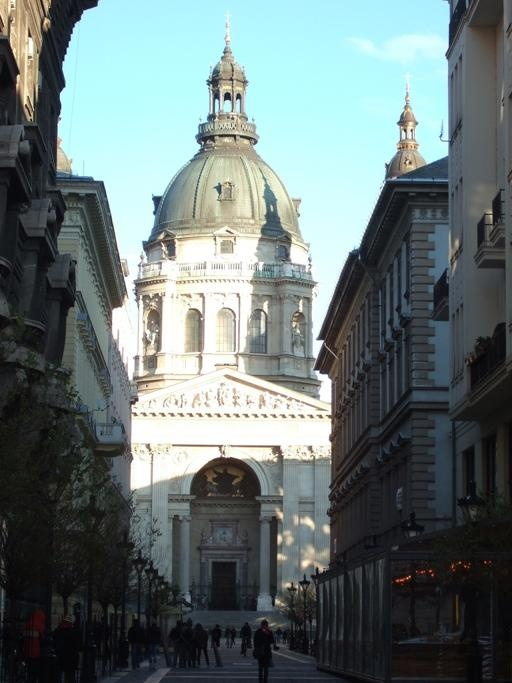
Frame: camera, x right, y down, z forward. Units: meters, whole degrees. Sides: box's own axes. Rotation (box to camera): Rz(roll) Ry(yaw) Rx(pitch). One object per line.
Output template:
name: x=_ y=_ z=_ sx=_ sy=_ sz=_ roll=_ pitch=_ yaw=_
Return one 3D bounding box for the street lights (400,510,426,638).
street lights: x=3.493 y=5.158 z=33.638 sx=0.486 sy=2.945 sz=0.497 roll=-4 pitch=7 yaw=-44

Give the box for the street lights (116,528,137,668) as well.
street lights: x=-4.239 y=8.173 z=48.121 sx=0.779 sy=4.980 sz=0.887 roll=3 pitch=4 yaw=22
